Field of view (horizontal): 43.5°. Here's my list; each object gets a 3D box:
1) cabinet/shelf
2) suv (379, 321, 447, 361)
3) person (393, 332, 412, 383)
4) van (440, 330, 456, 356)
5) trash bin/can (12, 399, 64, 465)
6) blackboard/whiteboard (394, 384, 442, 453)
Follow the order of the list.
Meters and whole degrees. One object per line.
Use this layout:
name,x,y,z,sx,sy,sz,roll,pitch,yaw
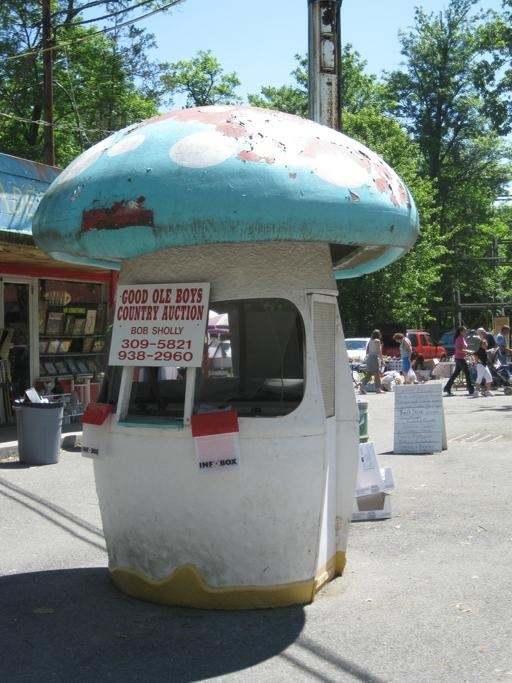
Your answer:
cabinet/shelf,-4.023,-0.025,14.057,2.050,1.590,0.648,-3,-4,20
suv,7.279,-0.005,30.685,1.956,1.589,3.759,1,5,34
person,4.350,0.506,18.926,0.481,1.403,0.815,-1,0,13
van,10.629,0.104,35.561,1.338,1.093,2.174,2,9,20
trash bin/can,-3.084,1.314,9.081,0.876,0.843,0.836,-1,-1,-7
blackboard/whiteboard,2.427,1.170,9.591,0.726,1.038,0.245,-1,0,6
